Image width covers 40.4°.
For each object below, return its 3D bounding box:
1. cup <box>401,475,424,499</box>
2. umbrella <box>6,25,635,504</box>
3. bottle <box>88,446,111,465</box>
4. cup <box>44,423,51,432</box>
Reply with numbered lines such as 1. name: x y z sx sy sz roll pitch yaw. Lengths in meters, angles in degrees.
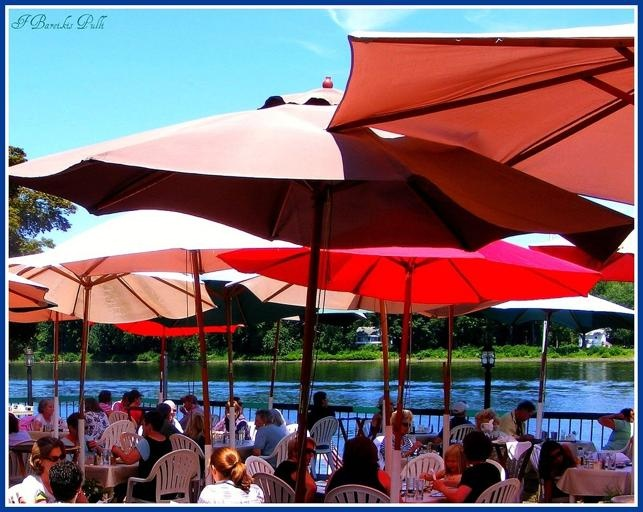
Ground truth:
1. cup: 0.870 2.260 8.513 0.171 0.203 0.175 0 -16 0
2. umbrella: 0.185 -0.580 6.363 3.414 2.441 3.546 3 -1 30
3. bottle: -2.496 2.236 9.824 0.221 0.251 0.226 2 -18 -10
4. cup: -4.198 2.624 13.402 0.118 0.145 0.122 -3 -9 0
